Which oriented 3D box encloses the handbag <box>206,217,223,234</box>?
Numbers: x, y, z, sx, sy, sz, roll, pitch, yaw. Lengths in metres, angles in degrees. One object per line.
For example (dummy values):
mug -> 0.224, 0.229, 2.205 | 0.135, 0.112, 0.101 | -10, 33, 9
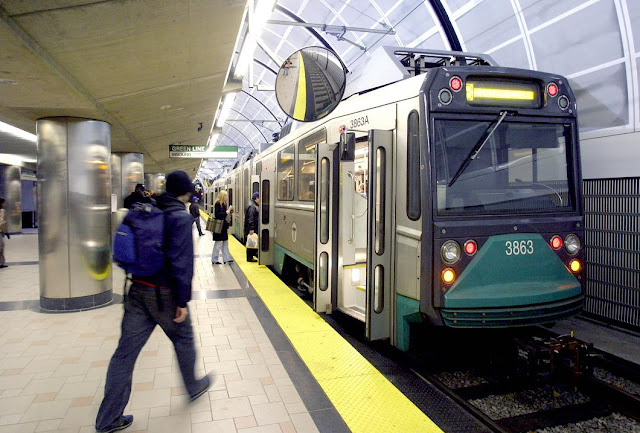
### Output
handbag -> -3.077, 0.306, 11.831 | 0.636, 0.488, 0.369 | 4, 17, -9
